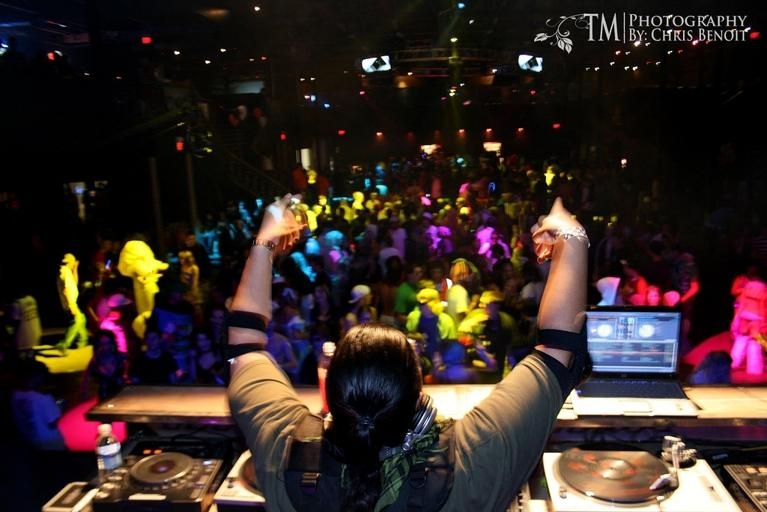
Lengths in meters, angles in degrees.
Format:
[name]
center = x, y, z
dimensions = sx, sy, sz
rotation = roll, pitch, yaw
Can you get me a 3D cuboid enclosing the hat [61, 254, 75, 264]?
[hat]
center = -3.721, 0.025, 7.070
dimensions = 0.137, 0.129, 0.046
rotation = 26, -2, 25
